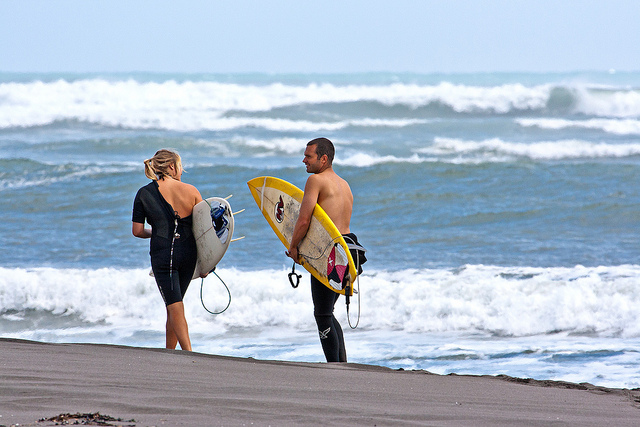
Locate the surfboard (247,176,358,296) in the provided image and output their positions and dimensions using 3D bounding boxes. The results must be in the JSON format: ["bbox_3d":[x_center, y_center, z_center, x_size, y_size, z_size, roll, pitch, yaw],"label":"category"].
[{"bbox_3d":[-0.426,0.618,26.404,3.417,0.902,0.326,39,16,32],"label":"surfboard"}]
